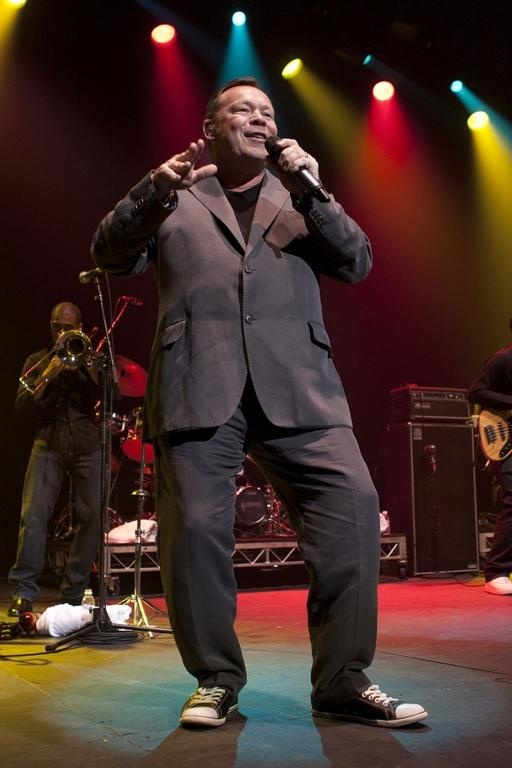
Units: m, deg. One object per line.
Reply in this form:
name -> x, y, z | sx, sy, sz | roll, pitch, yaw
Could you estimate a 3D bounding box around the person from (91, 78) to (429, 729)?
person -> -0.049, 0.009, 1.867 | 0.826, 1.720, 0.631 | 1, -4, -25
